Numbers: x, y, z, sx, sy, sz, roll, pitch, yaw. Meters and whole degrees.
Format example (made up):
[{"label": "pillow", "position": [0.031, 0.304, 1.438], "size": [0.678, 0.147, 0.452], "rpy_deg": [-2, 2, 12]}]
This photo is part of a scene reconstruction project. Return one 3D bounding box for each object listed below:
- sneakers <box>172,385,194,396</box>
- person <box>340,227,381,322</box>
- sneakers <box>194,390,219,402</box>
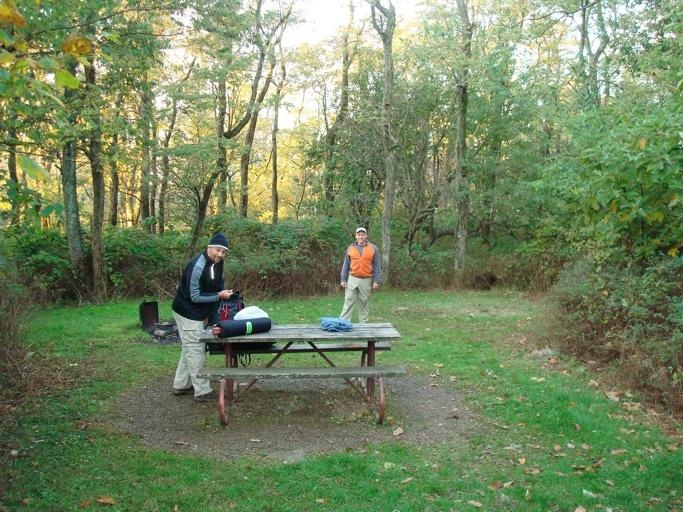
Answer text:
[{"label": "sneakers", "position": [-2.627, 2.211, 9.749], "size": [0.324, 0.149, 0.138], "rpy_deg": [-3, 2, -19]}, {"label": "person", "position": [0.390, 0.422, 12.713], "size": [0.788, 2.005, 0.694], "rpy_deg": [2, 2, 0]}, {"label": "sneakers", "position": [-2.174, 2.262, 9.543], "size": [0.400, 0.186, 0.149], "rpy_deg": [-3, 0, -2]}]
